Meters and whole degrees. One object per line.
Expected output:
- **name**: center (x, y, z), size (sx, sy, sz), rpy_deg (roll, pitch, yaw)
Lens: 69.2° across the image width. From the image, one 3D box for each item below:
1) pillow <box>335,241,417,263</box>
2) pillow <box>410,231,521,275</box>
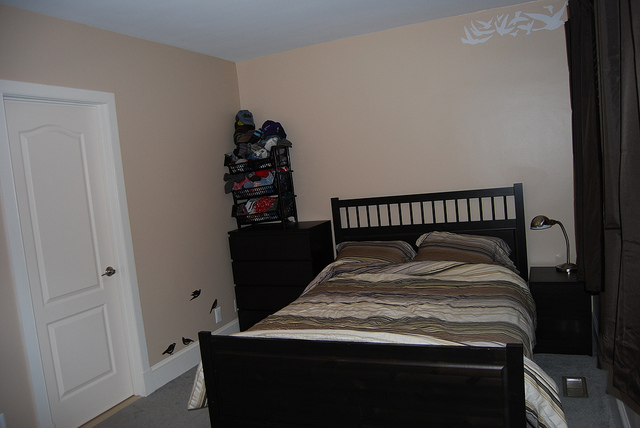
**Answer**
- **pillow**: center (0.542, 0.376, 4.545), size (0.770, 0.188, 0.376), rpy_deg (-4, 8, 9)
- **pillow**: center (1.347, 0.385, 4.303), size (0.904, 0.410, 0.539), rpy_deg (-2, 8, 20)
